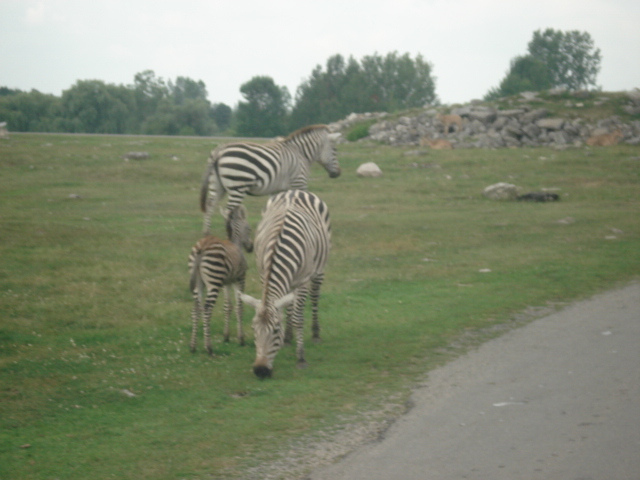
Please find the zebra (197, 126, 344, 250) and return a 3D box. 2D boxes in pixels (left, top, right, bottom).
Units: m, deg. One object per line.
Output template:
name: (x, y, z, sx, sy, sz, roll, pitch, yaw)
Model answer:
zebra: (-1.673, -2.037, 40.875, 6.130, 3.708, 1.771, -10, 19, -42)
